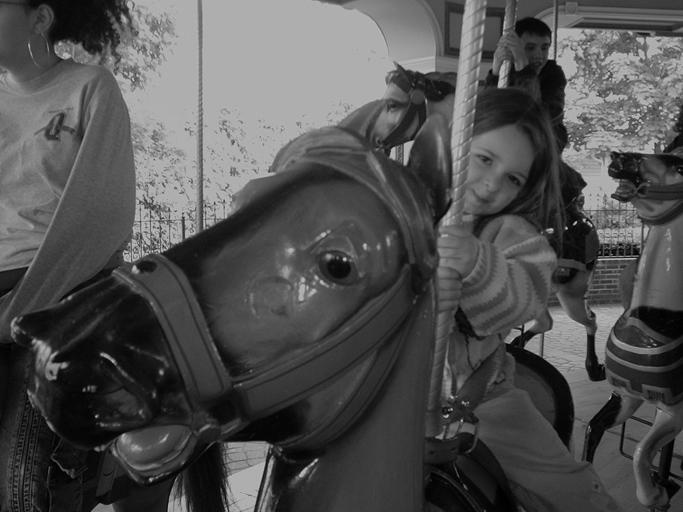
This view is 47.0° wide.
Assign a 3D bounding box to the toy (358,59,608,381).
[{"bbox_3d":[0.700,-0.082,3.051,0.361,0.962,0.994,7,3,43],"label":"toy"}]
